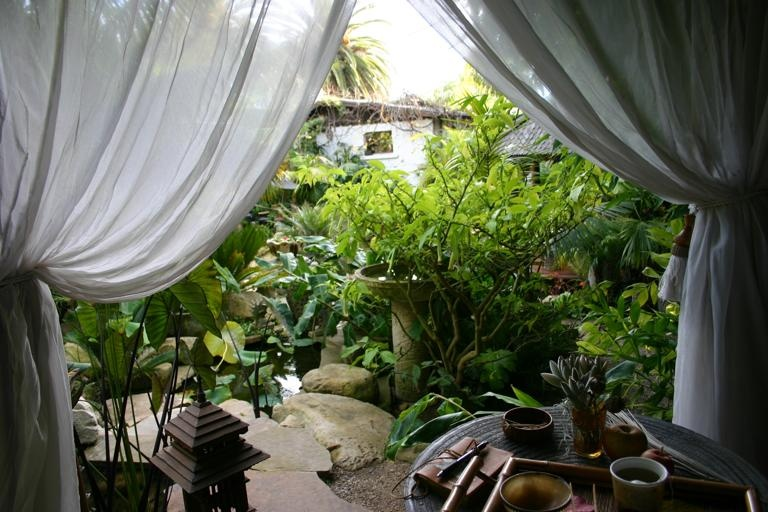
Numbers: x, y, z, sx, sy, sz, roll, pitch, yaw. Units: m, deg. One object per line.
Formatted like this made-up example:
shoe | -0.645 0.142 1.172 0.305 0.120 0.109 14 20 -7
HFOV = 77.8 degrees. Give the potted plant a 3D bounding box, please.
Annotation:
potted plant | 0.595 0.453 1.463 0.165 0.327 0.191 6 7 39
